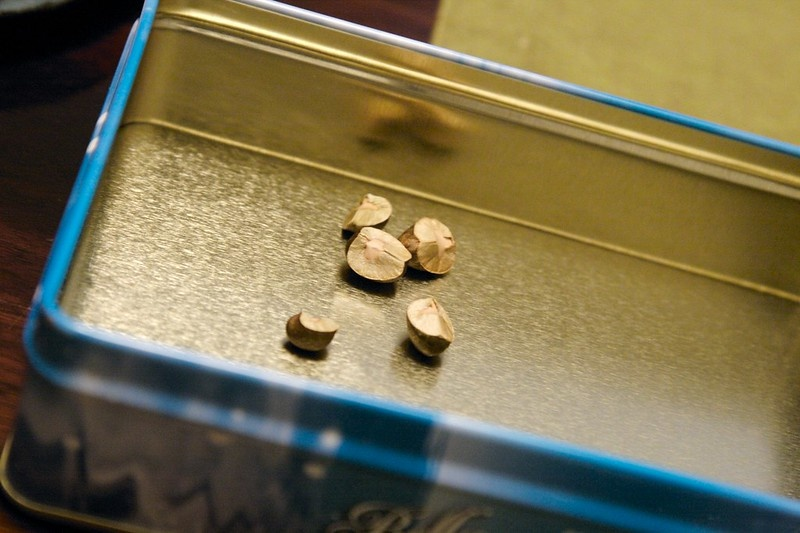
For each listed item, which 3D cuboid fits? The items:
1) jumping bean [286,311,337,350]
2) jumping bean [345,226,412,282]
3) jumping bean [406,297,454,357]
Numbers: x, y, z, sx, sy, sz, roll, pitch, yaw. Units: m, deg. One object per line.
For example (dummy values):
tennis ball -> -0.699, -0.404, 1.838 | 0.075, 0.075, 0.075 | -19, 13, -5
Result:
jumping bean -> -0.100, 0.074, 0.872 | 0.056, 0.059, 0.035 | 10, 102, -17
jumping bean -> -0.017, -0.004, 0.986 | 0.115, 0.128, 0.041 | -4, 68, -6
jumping bean -> 0.033, 0.069, 0.888 | 0.058, 0.044, 0.060 | 37, 25, -13
